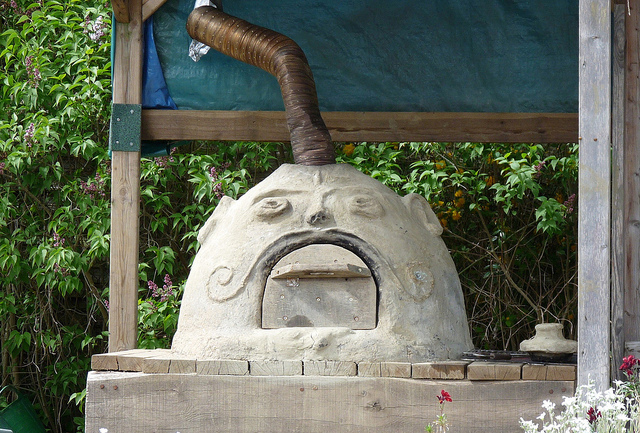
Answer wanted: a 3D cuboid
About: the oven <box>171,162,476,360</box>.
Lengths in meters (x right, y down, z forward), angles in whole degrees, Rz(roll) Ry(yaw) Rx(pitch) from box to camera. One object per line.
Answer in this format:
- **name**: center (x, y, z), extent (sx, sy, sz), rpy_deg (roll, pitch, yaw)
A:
- **oven**: center (0.018, 0.306, 9.601), extent (2.274, 1.457, 1.528), rpy_deg (-1, -3, -4)
